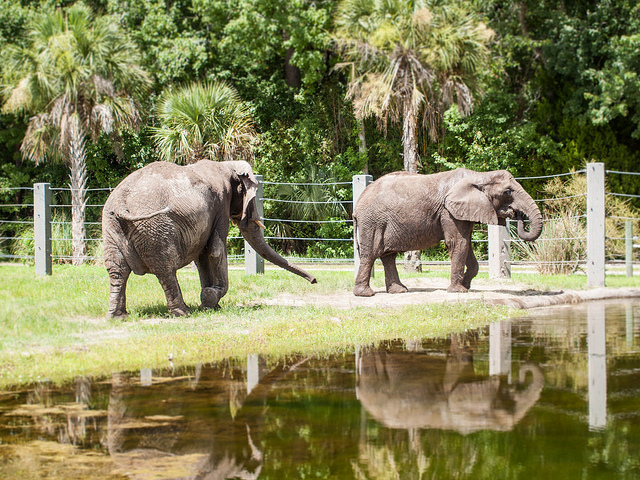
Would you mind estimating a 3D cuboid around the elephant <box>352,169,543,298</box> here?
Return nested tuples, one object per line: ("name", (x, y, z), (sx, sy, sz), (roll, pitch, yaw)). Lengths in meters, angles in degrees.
("elephant", (1.941, -0.140, 14.818), (2.825, 2.249, 1.319), (0, 17, 10))

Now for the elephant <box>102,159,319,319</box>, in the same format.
("elephant", (-1.432, -0.066, 13.082), (1.446, 2.235, 3.257), (3, 3, 42))
